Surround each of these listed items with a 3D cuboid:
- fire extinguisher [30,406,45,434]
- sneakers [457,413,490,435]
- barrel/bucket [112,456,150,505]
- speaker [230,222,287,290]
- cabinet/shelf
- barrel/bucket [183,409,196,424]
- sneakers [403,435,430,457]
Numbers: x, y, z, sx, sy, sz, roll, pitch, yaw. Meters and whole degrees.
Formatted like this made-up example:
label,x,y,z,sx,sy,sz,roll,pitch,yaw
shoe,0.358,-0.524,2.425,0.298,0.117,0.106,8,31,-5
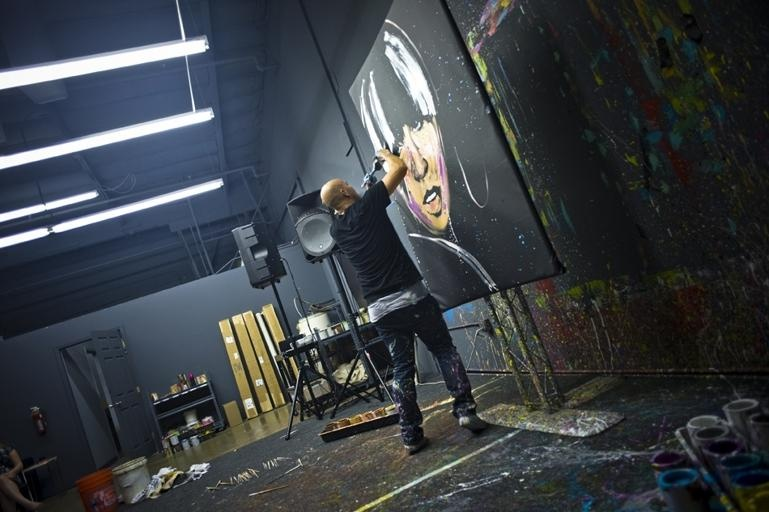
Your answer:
label,x,y,z,sx,sy,sz,roll,pitch,yaw
fire extinguisher,-6.878,3.230,9.255,0.196,0.583,0.279,-11,-9,-42
sneakers,0.683,1.289,3.587,0.233,0.109,0.119,29,-34,-29
barrel/bucket,-3.049,2.700,5.621,0.359,0.438,0.453,-14,-8,-30
speaker,-1.804,-0.016,6.806,0.523,0.708,0.450,-20,-7,22
cabinet/shelf,-3.985,3.205,9.521,1.272,0.817,1.566,-15,-8,-30
barrel/bucket,-3.923,3.240,9.433,0.216,0.171,0.664,-15,-9,-27
sneakers,0.245,1.480,3.654,0.105,0.140,0.196,-14,-16,21
